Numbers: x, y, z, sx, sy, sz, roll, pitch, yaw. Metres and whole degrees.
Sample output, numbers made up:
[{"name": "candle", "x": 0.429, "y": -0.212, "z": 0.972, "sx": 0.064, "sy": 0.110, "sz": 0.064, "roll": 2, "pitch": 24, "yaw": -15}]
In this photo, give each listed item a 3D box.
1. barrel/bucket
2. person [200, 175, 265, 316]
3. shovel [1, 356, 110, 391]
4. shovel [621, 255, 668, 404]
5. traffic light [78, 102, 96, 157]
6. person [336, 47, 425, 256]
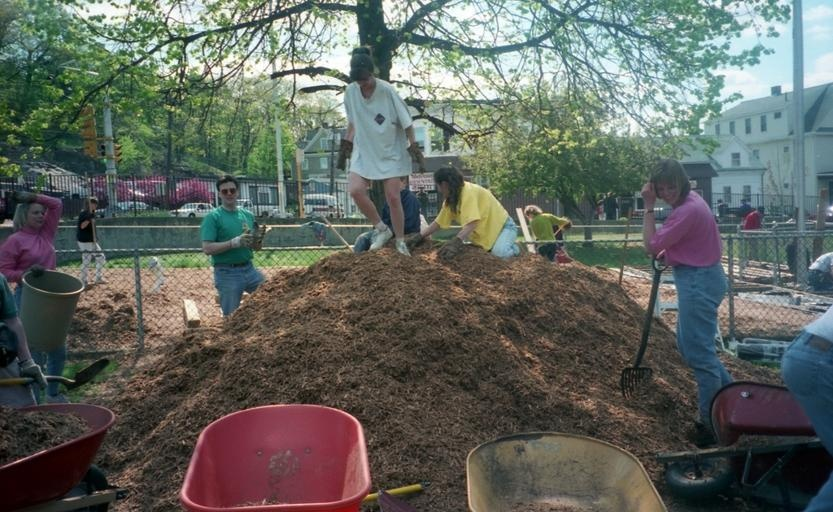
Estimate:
[{"name": "barrel/bucket", "x": -6.428, "y": 1.019, "z": 15.436, "sx": 0.959, "sy": 1.615, "sz": 1.353, "roll": -1, "pitch": 5, "yaw": 8}, {"name": "person", "x": -3.429, "y": -0.212, "z": 16.833, "sx": 1.206, "sy": 2.844, "sz": 1.105, "roll": 0, "pitch": 0, "yaw": 35}, {"name": "shovel", "x": -5.813, "y": 1.985, "z": 14.026, "sx": 1.396, "sy": 0.792, "sz": 0.964, "roll": 0, "pitch": -2, "yaw": -4}, {"name": "shovel", "x": 3.965, "y": 1.443, "z": 15.083, "sx": 0.574, "sy": 2.890, "sz": 0.662, "roll": 1, "pitch": -1, "yaw": 40}, {"name": "traffic light", "x": -8.754, "y": -3.350, "z": 22.957, "sx": 0.423, "sy": 1.436, "sz": 2.073, "roll": -2, "pitch": 6, "yaw": -21}, {"name": "person", "x": -0.725, "y": -1.994, "z": 16.253, "sx": 1.402, "sy": 3.823, "sz": 0.908, "roll": 0, "pitch": 5, "yaw": -3}]
